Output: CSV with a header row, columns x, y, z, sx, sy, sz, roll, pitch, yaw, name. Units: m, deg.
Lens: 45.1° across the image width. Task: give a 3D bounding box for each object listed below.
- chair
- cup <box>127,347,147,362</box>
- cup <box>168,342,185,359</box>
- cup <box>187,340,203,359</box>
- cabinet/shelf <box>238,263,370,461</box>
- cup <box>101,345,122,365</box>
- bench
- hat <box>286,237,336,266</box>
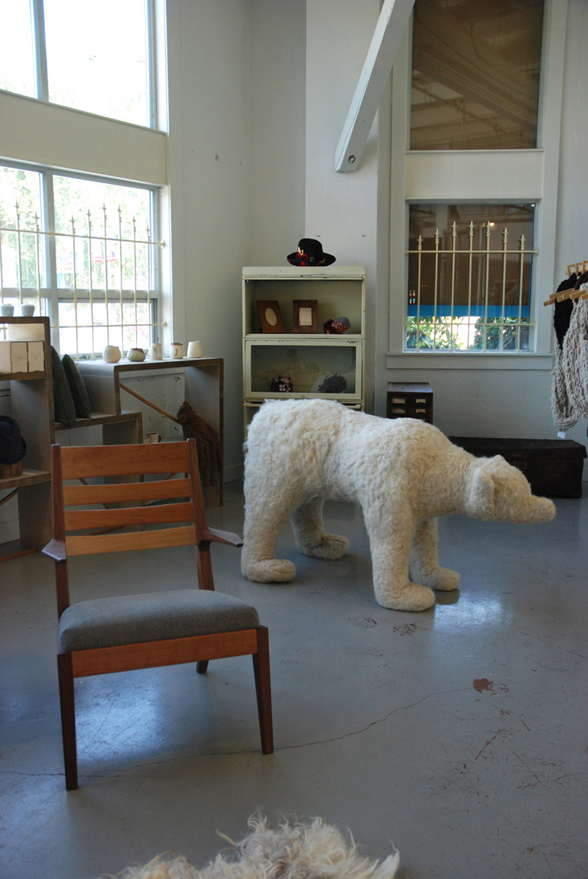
x,y,z,sx,sy,sz,roll,pitch,yaw,name
-0.415,0.411,1.954,0.699,0.777,0.682,-1,1,41,chair
-0.982,-0.518,4.387,0.102,0.078,0.104,1,-1,0,cup
-0.786,-0.594,4.747,0.103,0.115,0.113,0,2,0,cup
-0.650,-0.606,4.820,0.132,0.147,0.133,2,3,0,cup
0.075,-0.548,5.217,0.894,1.439,0.438,0,7,1,cabinet/shelf
-1.072,-0.498,4.220,0.118,0.114,0.121,2,22,-1,cup
1.638,0.201,5.088,0.784,0.377,0.533,3,7,17,bench
0.116,-1.344,5.093,0.311,0.183,0.154,1,7,7,hat
